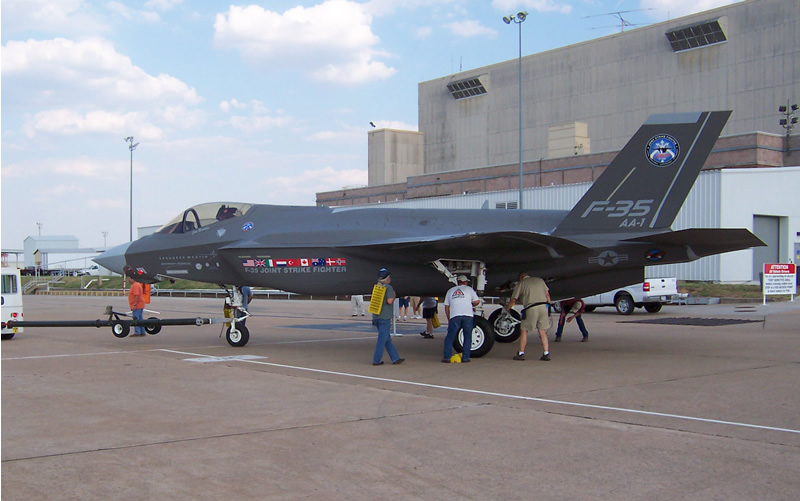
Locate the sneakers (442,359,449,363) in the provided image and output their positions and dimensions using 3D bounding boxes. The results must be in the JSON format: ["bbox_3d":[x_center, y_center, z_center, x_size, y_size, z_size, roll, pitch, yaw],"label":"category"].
[{"bbox_3d":[1.058,2.556,17.242,0.128,0.038,0.078,-2,13,32],"label":"sneakers"}]

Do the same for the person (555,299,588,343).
[{"bbox_3d":[5.066,2.111,22.056,1.302,1.257,0.868,-2,-9,5],"label":"person"}]

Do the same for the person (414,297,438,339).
[{"bbox_3d":[0.800,1.795,22.338,0.722,1.580,0.547,0,-1,-10],"label":"person"}]

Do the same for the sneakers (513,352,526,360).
[{"bbox_3d":[2.817,2.478,17.537,0.290,0.191,0.555,-1,-3,10],"label":"sneakers"}]

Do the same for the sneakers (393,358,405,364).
[{"bbox_3d":[-0.040,2.536,17.015,0.294,0.112,0.091,-14,21,-8],"label":"sneakers"}]

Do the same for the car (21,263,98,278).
[{"bbox_3d":[-41.096,2.400,89.357,8.908,1.168,1.584,-4,-2,29],"label":"car"}]

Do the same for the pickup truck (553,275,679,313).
[{"bbox_3d":[8.918,1.772,30.679,4.566,1.701,2.509,-3,-1,33],"label":"pickup truck"}]

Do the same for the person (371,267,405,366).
[{"bbox_3d":[-0.324,1.525,17.184,0.682,2.189,1.195,0,-3,1],"label":"person"}]

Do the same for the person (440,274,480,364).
[{"bbox_3d":[1.432,1.599,17.462,0.885,2.022,1.019,0,-3,5],"label":"person"}]

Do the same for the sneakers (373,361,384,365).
[{"bbox_3d":[-0.473,2.558,16.842,0.256,0.093,0.087,-3,6,-19],"label":"sneakers"}]

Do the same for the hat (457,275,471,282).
[{"bbox_3d":[1.494,0.675,17.493,0.188,0.093,0.261,4,9,35],"label":"hat"}]

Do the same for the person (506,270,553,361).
[{"bbox_3d":[3.165,1.580,17.971,0.968,2.028,1.524,0,-3,9],"label":"person"}]
